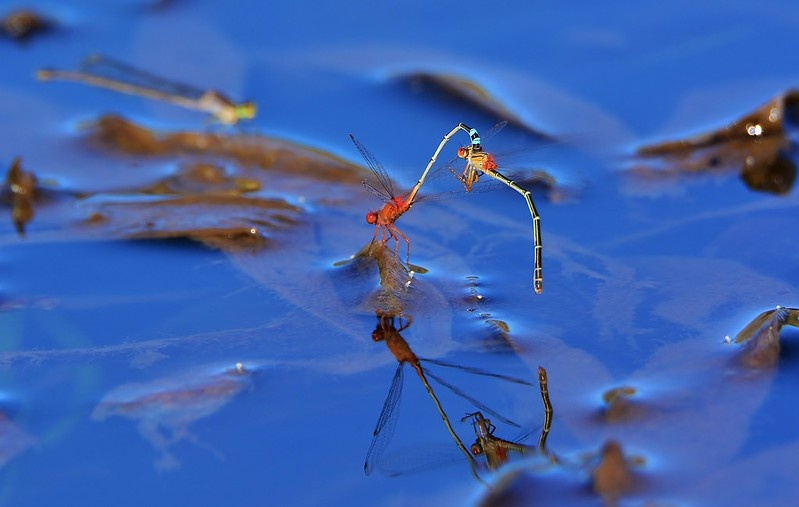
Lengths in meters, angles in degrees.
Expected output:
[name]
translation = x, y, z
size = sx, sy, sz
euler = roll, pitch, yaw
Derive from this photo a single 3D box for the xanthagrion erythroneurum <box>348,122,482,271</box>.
[xanthagrion erythroneurum]
translation = 0.021, -0.115, 1.726
size = 0.237, 0.251, 0.144
euler = -46, 59, 22
